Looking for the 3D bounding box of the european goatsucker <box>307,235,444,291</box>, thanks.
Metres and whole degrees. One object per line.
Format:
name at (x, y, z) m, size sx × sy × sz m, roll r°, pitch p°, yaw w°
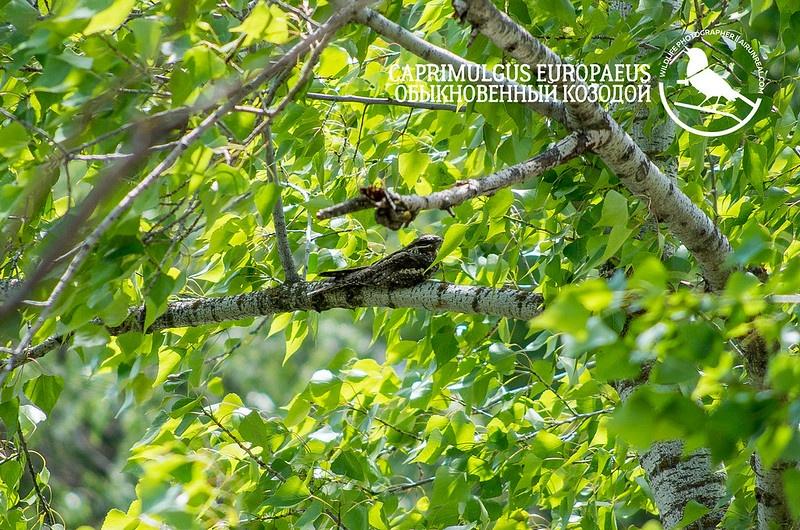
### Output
european goatsucker at (-0.110, 0.007, 7.289) m, size 0.650 × 0.308 × 0.231 m, roll -1°, pitch -6°, yaw -16°
